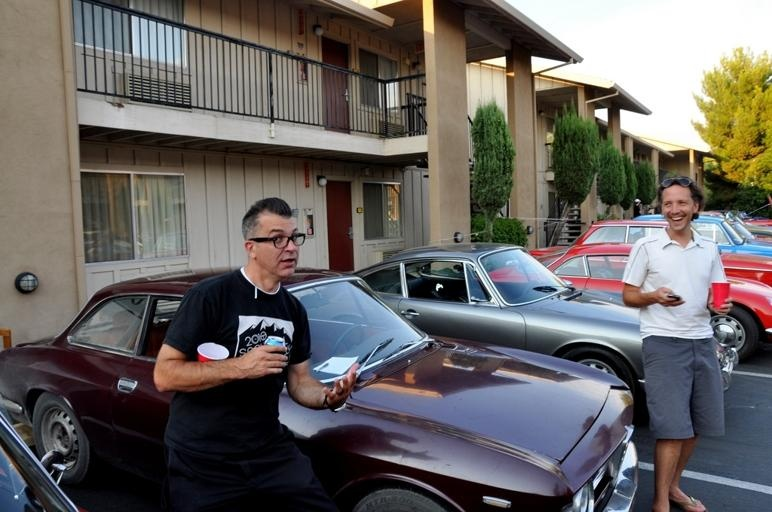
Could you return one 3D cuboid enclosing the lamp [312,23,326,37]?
[{"bbox_3d":[-1.558,-5.417,12.831,0.255,0.292,0.244,11,21,40],"label":"lamp"}]

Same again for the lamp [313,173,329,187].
[{"bbox_3d":[-1.520,-1.848,13.252,0.190,0.302,0.443,10,14,25],"label":"lamp"}]

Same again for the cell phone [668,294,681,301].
[{"bbox_3d":[2.246,0.318,4.209,0.111,0.043,0.051,4,13,-3],"label":"cell phone"}]
